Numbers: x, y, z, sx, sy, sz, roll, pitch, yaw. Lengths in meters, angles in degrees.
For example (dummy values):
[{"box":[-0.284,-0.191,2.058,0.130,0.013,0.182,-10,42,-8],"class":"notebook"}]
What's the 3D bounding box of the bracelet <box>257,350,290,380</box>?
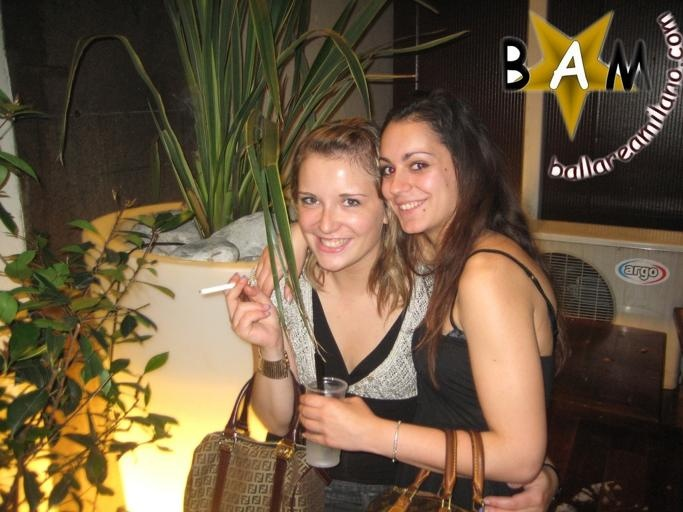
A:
[{"box":[-0.237,0.370,1.684,0.075,0.065,0.081,0,2,19],"class":"bracelet"}]
